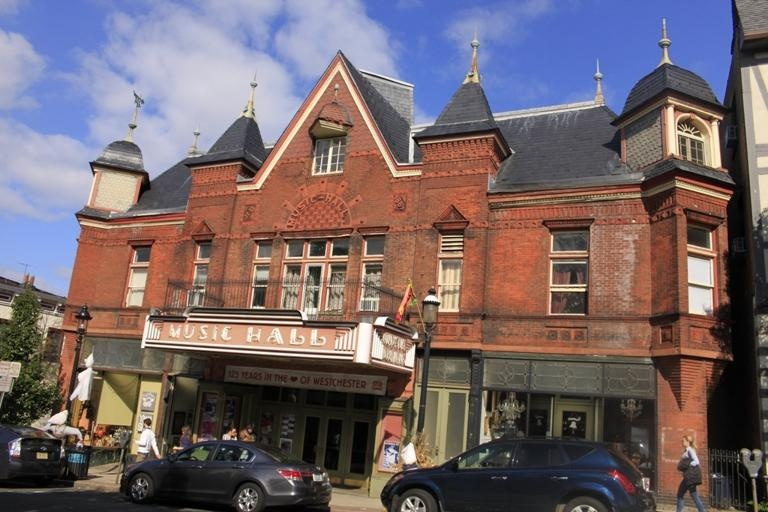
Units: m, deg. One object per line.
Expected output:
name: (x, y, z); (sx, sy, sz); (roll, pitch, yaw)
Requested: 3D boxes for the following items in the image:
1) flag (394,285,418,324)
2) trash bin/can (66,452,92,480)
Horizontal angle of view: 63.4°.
flag: (0.912, 1.657, 23.521); (0.804, 2.015, 0.234); (-11, -45, 21)
trash bin/can: (-10.915, 7.496, 22.431); (0.910, 0.983, 0.900); (13, -17, -38)
